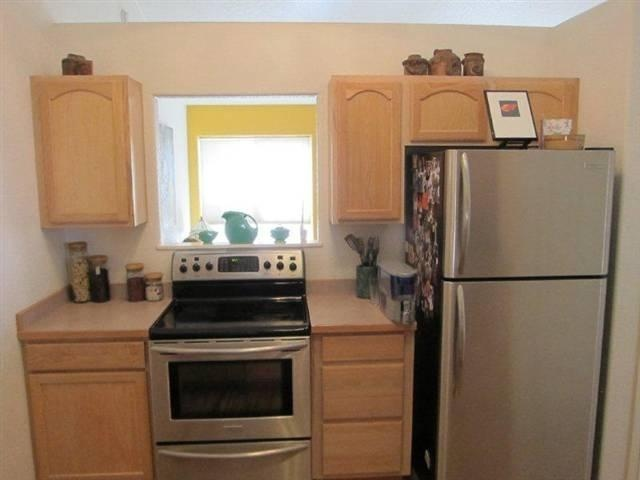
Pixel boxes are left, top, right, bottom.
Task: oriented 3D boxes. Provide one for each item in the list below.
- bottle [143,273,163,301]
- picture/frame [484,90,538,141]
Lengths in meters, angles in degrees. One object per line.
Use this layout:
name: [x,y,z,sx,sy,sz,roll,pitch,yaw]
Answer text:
bottle: [-1.111,0.312,4.096,0.160,0.182,0.162,-2,7,-36]
picture/frame: [1.131,-0.745,3.591,0.385,0.437,0.029,1,-27,-5]
